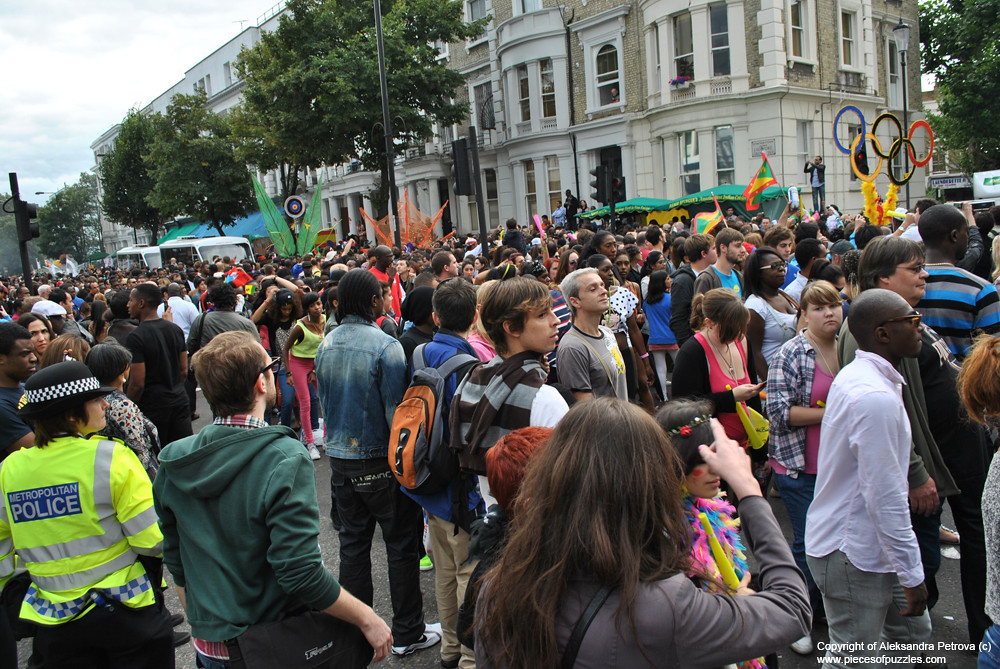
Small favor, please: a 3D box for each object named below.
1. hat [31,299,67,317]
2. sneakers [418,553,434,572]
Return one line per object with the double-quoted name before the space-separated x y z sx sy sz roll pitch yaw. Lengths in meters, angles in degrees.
"hat" -5.727 -0.338 11.258 0.495 0.212 0.370 4 5 22
"sneakers" -0.634 1.978 7.719 0.113 0.124 0.279 1 -16 -8
